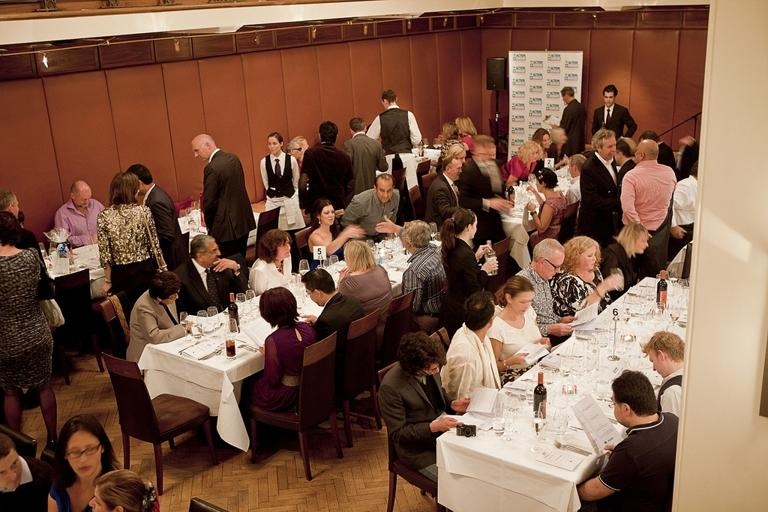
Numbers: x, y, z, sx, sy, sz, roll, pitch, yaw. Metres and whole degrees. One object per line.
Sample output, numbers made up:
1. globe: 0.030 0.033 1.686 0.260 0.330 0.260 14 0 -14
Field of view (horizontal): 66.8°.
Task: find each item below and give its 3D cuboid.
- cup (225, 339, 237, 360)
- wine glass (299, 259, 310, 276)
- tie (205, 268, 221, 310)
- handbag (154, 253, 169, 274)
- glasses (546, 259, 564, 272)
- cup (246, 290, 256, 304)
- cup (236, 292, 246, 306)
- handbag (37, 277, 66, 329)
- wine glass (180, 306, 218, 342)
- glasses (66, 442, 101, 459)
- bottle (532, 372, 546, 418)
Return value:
1. cup: -1.419 0.859 5.397 0.097 0.171 0.065 -20 26 -37
2. wine glass: -0.925 0.142 6.729 0.100 0.180 0.106 -20 28 -40
3. tie: -1.886 0.352 6.354 0.116 0.117 0.482 -6 49 -16
4. handbag: -2.626 0.092 6.822 0.053 0.238 0.080 -2 6 8
5. glasses: 1.808 0.143 6.163 0.145 0.048 0.153 -13 49 -46
6. cup: -1.436 0.457 6.320 0.089 0.158 0.099 1 0 -1
7. cup: -1.543 0.456 6.271 0.087 0.095 0.093 1 6 0
8. handbag: -3.321 0.553 5.828 0.114 0.273 0.333 -38 63 -2
9. wine glass: -1.839 0.686 5.849 0.217 0.170 0.346 0 3 -3
10. glasses: -2.023 1.309 3.904 0.207 0.089 0.046 -16 24 -26
11. bottle: 1.187 1.046 4.422 0.090 0.356 0.284 1 22 14
